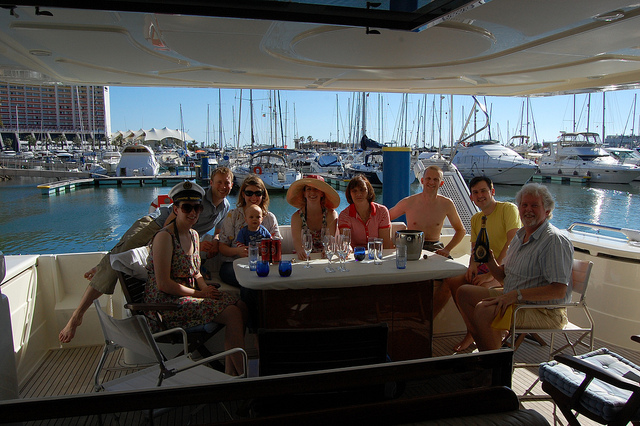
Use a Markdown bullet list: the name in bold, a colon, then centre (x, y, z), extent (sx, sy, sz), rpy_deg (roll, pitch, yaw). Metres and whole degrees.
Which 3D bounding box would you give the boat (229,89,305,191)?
- **boat**: centre (-3.213, -6.227, 27.306), extent (3.171, 9.036, 8.686), rpy_deg (-3, 7, -9)

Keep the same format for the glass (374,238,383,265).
- **glass**: centre (0.498, 0.327, 3.289), extent (0.065, 0.196, 0.100), rpy_deg (-1, 13, 7)

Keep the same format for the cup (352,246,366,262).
- **cup**: centre (0.347, 0.366, 3.479), extent (0.113, 0.116, 0.112), rpy_deg (1, -6, 0)

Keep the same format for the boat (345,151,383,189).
- **boat**: centre (3.226, -3.028, 25.621), extent (1.224, 1.545, 3.917), rpy_deg (21, 27, 33)

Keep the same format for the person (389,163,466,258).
- **person**: centre (1.235, 0.000, 4.485), extent (0.992, 1.080, 0.651), rpy_deg (6, 16, 8)

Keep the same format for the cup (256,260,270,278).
- **cup**: centre (-0.442, 0.435, 2.993), extent (0.110, 0.114, 0.110), rpy_deg (2, 6, 0)

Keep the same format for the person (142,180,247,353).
- **person**: centre (-1.070, 0.518, 3.400), extent (0.946, 1.558, 0.700), rpy_deg (2, 2, 18)

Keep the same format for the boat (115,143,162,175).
- **boat**: centre (-14.738, -4.069, 31.527), extent (2.911, 2.345, 4.795), rpy_deg (0, 4, -18)

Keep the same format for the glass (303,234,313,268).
- **glass**: centre (-0.102, 0.311, 3.235), extent (0.068, 0.254, 0.162), rpy_deg (-3, 13, -3)

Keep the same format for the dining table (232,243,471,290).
- **dining table**: centre (0.189, 0.361, 3.256), extent (1.819, 0.252, 0.633), rpy_deg (-4, 13, -8)

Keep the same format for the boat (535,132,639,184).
- **boat**: centre (19.856, -4.316, 29.461), extent (5.226, 3.415, 7.240), rpy_deg (1, 13, 12)

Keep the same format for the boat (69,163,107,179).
- **boat**: centre (-19.028, -3.486, 31.789), extent (2.381, 0.972, 8.435), rpy_deg (-10, 15, -31)

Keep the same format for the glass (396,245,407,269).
- **glass**: centre (0.665, 0.349, 3.147), extent (0.070, 0.186, 0.105), rpy_deg (-1, 13, 5)

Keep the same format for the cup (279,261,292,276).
- **cup**: centre (-0.265, 0.426, 2.984), extent (0.092, 0.094, 0.094), rpy_deg (1, 11, 0)

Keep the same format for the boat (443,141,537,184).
- **boat**: centre (12.325, -3.966, 29.141), extent (2.926, 3.390, 9.933), rpy_deg (-15, 12, -9)

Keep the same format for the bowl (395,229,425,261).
- **bowl**: centre (0.765, 0.264, 3.287), extent (0.271, 0.239, 0.231), rpy_deg (-1, 4, -12)

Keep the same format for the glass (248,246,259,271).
- **glass**: centre (-0.525, 0.368, 3.090), extent (0.082, 0.199, 0.200), rpy_deg (-5, 13, -12)

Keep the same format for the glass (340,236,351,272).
- **glass**: centre (0.206, 0.316, 3.144), extent (0.085, 0.252, 0.231), rpy_deg (-1, 13, 4)

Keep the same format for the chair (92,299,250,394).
- **chair**: centre (-1.090, 0.984, 2.897), extent (0.640, 0.722, 0.750), rpy_deg (-10, 11, -40)

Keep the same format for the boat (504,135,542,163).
- **boat**: centre (20.275, -6.750, 39.656), extent (1.465, 2.040, 5.844), rpy_deg (-4, 4, -24)
